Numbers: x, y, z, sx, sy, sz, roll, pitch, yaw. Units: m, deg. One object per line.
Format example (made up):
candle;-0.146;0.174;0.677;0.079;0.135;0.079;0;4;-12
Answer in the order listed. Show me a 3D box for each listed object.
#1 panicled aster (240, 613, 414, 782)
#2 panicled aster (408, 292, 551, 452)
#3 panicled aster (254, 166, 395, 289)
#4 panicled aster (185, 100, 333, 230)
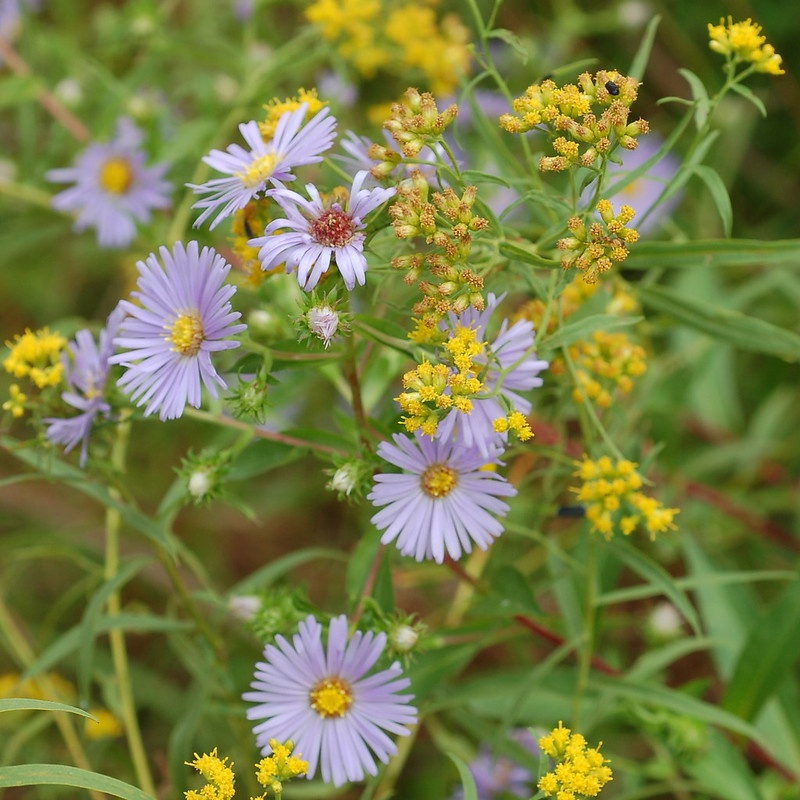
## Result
panicled aster;-0.077;0.342;1.138;0.184;0.124;0.154;30;62;14
panicled aster;0.104;-0.039;1.187;0.053;0.177;0.175;16;51;34
panicled aster;-0.082;-0.201;1.124;0.137;0.137;0.046;-16;89;-11
panicled aster;-0.155;-0.291;1.189;0.175;0.184;0.042;-20;87;24
